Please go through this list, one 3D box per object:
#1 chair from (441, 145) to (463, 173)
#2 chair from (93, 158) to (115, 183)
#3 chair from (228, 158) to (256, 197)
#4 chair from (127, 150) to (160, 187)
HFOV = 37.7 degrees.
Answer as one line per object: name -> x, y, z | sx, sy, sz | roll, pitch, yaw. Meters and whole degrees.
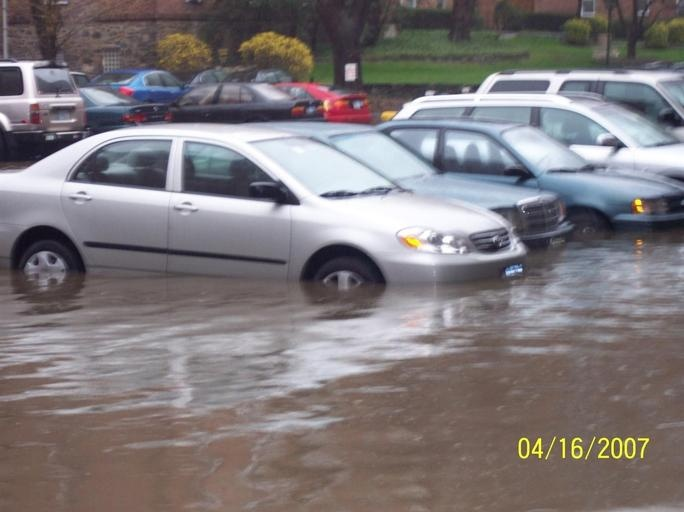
chair -> 1.320, -1.162, 12.027 | 0.290, 0.252, 0.304 | -1, 1, -8
chair -> -2.267, -0.808, 9.529 | 0.231, 0.174, 0.354 | 1, 27, -10
chair -> -0.909, -0.708, 9.090 | 0.157, 0.340, 0.322 | -3, 14, -45
chair -> -1.821, -0.805, 9.374 | 0.426, 0.373, 0.240 | 1, 3, 25
